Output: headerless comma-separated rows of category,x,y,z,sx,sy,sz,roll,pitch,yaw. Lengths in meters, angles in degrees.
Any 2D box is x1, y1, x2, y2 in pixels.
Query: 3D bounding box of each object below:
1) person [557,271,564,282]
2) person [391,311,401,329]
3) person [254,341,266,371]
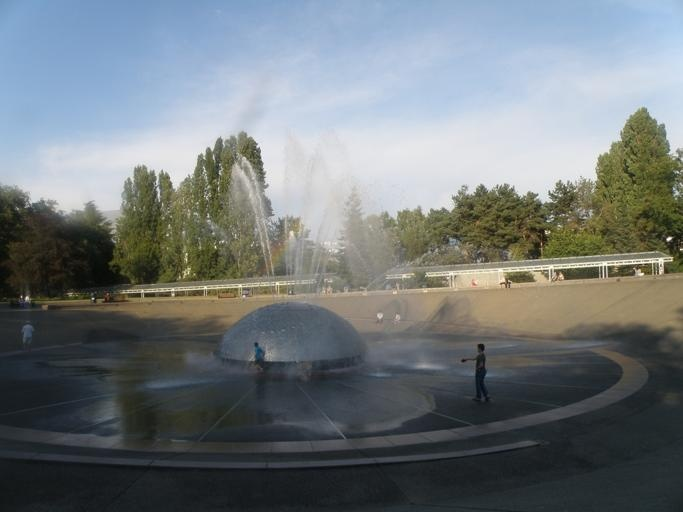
person,22.316,2.119,60.316,0.583,0.784,1.872,-2,-9,2
person,3.669,4.330,39.614,0.463,0.590,1.010,-1,-24,1
person,-2.872,3.527,20.935,0.384,0.956,0.541,-1,8,-8
